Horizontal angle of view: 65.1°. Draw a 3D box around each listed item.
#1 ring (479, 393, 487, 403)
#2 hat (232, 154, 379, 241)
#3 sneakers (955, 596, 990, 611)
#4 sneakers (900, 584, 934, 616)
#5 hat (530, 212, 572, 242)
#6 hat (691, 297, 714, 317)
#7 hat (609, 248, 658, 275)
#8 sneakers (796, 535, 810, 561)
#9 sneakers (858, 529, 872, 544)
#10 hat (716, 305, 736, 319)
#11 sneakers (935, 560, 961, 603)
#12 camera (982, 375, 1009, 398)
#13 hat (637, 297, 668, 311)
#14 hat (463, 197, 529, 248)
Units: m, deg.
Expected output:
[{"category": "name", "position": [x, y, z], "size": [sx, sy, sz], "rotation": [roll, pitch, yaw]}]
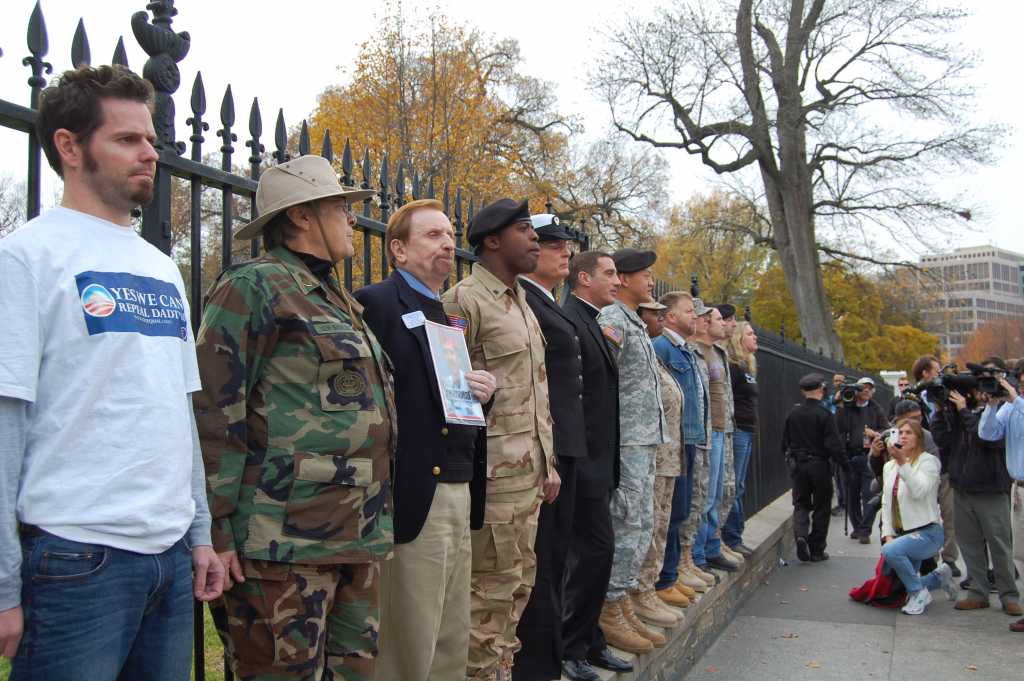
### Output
[{"category": "ring", "position": [-0.150, 0.300, 4.158], "size": [0.029, 0.041, 0.013], "rotation": [-5, 13, 2]}, {"category": "hat", "position": [-1.127, -0.663, 3.763], "size": [0.669, 0.289, 0.714], "rotation": [-25, 25, -25]}, {"category": "sneakers", "position": [4.776, 2.724, 8.343], "size": [0.393, 0.173, 0.142], "rotation": [3, -10, -5]}, {"category": "sneakers", "position": [4.185, 2.703, 8.279], "size": [0.428, 0.193, 0.154], "rotation": [-22, -6, -46]}, {"category": "hat", "position": [0.250, -0.725, 5.132], "size": [0.244, 0.089, 0.176], "rotation": [2, 2, 34]}, {"category": "hat", "position": [1.788, -0.312, 7.581], "size": [0.240, 0.083, 0.160], "rotation": [12, 23, 25]}, {"category": "hat", "position": [0.919, -0.605, 6.105], "size": [0.228, 0.081, 0.243], "rotation": [-13, 7, -24]}, {"category": "sneakers", "position": [3.740, 2.670, 10.272], "size": [0.139, 0.349, 0.150], "rotation": [-6, 3, 18]}, {"category": "sneakers", "position": [5.012, 2.791, 11.396], "size": [0.129, 0.155, 0.355], "rotation": [-1, -14, 17]}, {"category": "hat", "position": [2.244, -0.314, 8.380], "size": [0.185, 0.134, 0.224], "rotation": [3, -2, 5]}, {"category": "sneakers", "position": [4.796, 2.662, 8.827], "size": [0.199, 0.433, 0.153], "rotation": [-36, 13, -1]}, {"category": "camera", "position": [4.876, 0.460, 8.119], "size": [0.149, 0.276, 0.249], "rotation": [3, -7, 14]}, {"category": "hat", "position": [1.169, -0.290, 6.676], "size": [0.220, 0.072, 0.150], "rotation": [-3, 1, 11]}, {"category": "hat", "position": [-0.095, -0.724, 4.768], "size": [0.320, 0.127, 0.278], "rotation": [-28, -1, 5]}]
